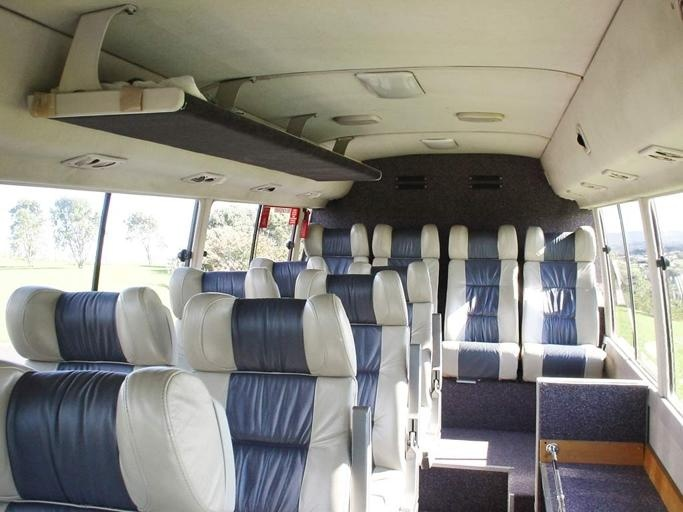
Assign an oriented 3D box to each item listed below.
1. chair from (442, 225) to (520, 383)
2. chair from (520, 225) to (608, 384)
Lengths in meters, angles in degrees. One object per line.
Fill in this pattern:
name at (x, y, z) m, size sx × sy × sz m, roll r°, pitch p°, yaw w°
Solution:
chair at (1.686, 0.517, 6.048) m, size 0.859 × 1.377 × 0.752 m, roll 4°, pitch -2°, yaw 12°
chair at (2.531, 0.540, 5.813) m, size 0.878 × 1.846 × 0.740 m, roll 3°, pitch -2°, yaw 21°
